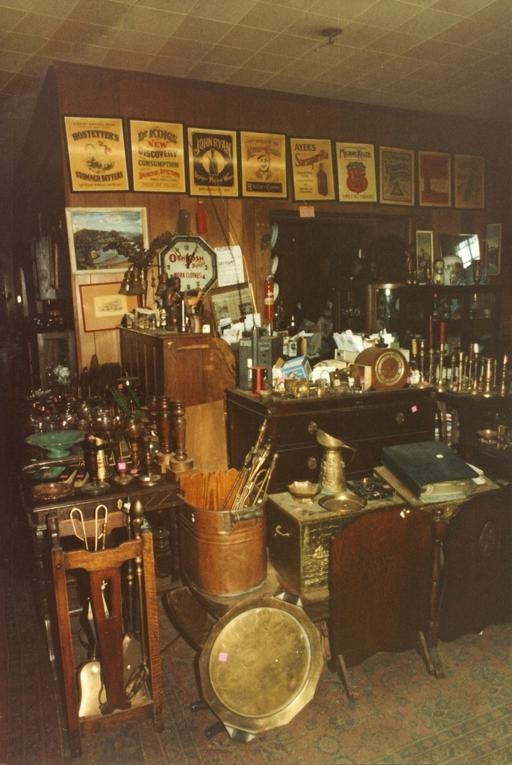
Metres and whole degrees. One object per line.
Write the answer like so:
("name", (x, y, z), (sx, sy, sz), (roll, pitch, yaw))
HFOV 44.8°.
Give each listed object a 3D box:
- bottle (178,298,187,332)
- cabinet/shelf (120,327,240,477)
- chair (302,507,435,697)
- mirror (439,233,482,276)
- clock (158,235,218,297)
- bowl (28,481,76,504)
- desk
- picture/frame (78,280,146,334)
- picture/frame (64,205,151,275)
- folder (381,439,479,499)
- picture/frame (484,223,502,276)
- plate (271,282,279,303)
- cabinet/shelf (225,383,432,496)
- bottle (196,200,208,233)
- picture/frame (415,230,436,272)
("bottle", (-0.496, -0.460, 4.248), (0.060, 0.204, 0.196), (-3, 10, -7))
("cabinet/shelf", (-0.461, 0.123, 3.834), (0.303, 0.791, 0.838), (-7, 16, -21))
("chair", (0.557, 0.935, 2.588), (0.509, 0.768, 0.263), (-9, 19, -17))
("mirror", (2.152, -1.356, 6.568), (0.461, 0.472, 0.045), (-19, 7, -31))
("clock", (-0.553, -0.946, 5.236), (0.537, 0.508, 0.123), (-1, 6, -35))
("bowl", (-0.928, 0.496, 2.844), (0.184, 0.041, 0.227), (-5, 11, -19))
("desk", (-0.699, 0.766, 3.246), (0.868, 0.860, 0.625), (-3, 29, -11))
("picture/frame", (-1.185, -0.609, 4.947), (0.549, 0.443, 0.020), (0, -9, 11))
("picture/frame", (-1.185, -1.117, 4.877), (0.577, 0.464, 0.037), (-10, 20, -22))
("folder", (0.893, 0.447, 3.255), (0.472, 0.110, 0.470), (-12, 31, -34))
("picture/frame", (2.623, -1.452, 6.835), (0.218, 0.567, 0.058), (-6, 11, -23))
("plate", (0.191, -0.833, 5.720), (0.059, 0.185, 0.128), (8, 19, 18))
("cabinet/shelf", (0.627, 0.501, 4.331), (1.217, 0.940, 0.462), (-5, 7, -16))
("bottle", (-0.448, -1.383, 5.199), (0.097, 0.283, 0.269), (-3, 10, -5))
("picture/frame", (1.747, -1.360, 6.407), (0.164, 0.416, 0.296), (4, 12, 30))
